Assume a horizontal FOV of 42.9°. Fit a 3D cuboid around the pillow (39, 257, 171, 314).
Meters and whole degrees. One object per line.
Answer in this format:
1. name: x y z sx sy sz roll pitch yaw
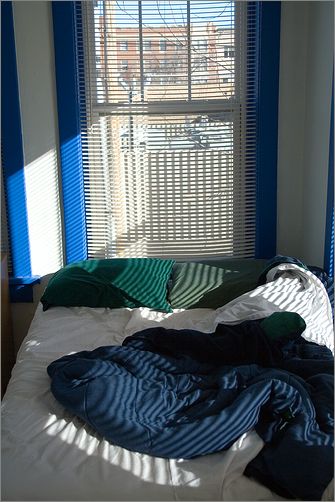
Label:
1. pillow: -0.269 0.170 2.205 0.366 0.109 0.361 1 15 2
